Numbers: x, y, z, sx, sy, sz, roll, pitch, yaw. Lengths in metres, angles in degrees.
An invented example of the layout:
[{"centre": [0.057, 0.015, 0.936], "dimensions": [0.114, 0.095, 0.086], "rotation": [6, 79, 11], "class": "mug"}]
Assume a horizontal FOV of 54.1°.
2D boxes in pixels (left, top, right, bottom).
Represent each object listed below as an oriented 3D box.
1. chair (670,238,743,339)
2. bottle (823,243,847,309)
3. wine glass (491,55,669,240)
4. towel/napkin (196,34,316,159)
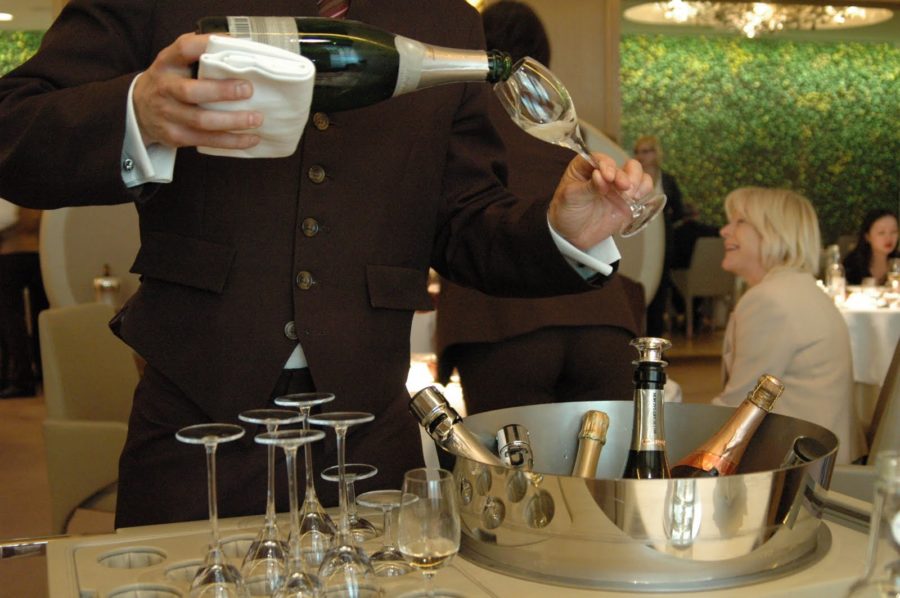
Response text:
[{"centre": [1.814, -0.069, 6.155], "dimensions": [0.339, 0.658, 0.364], "rotation": [-1, -3, 10], "class": "chair"}, {"centre": [2.106, -0.137, 4.808], "dimensions": [0.119, 0.132, 0.446], "rotation": [-7, 46, 22], "class": "bottle"}, {"centre": [0.203, -0.279, 1.432], "dimensions": [0.117, 0.360, 0.131], "rotation": [-23, 37, 34], "class": "wine glass"}, {"centre": [-0.262, -0.263, 1.176], "dimensions": [0.139, 0.079, 0.184], "rotation": [12, -28, -9], "class": "towel/napkin"}]
